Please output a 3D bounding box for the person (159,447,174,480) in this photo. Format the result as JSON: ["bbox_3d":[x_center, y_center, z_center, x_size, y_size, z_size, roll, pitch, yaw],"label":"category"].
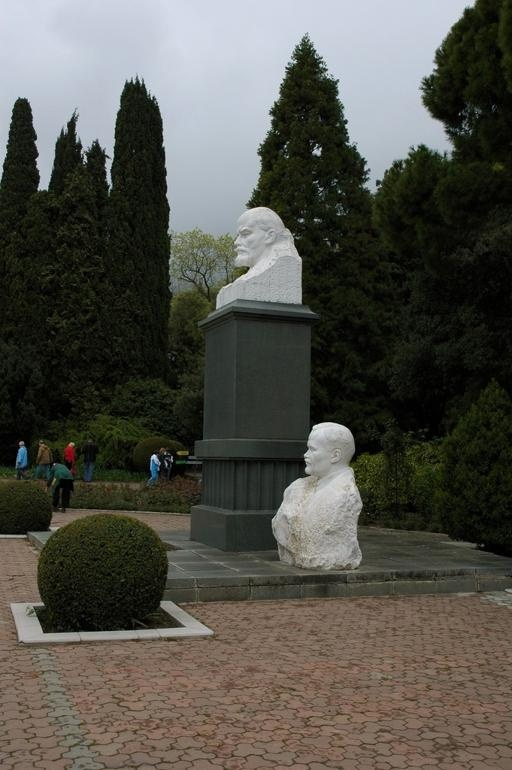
[{"bbox_3d":[-3.136,2.707,24.813,0.411,1.040,1.672,2,-2,-8],"label":"person"}]

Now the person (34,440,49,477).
[{"bbox_3d":[-6.801,2.426,22.763,0.433,1.269,3.397,2,-2,-16],"label":"person"}]

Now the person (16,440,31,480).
[{"bbox_3d":[-7.910,2.495,24.088,0.326,1.255,1.735,2,-2,-19],"label":"person"}]

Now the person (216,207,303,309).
[{"bbox_3d":[0.075,-1.715,9.360,0.941,1.430,1.093,2,-2,-10],"label":"person"}]

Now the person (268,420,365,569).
[{"bbox_3d":[0.565,1.136,7.419,0.952,1.800,1.281,5,-10,-13],"label":"person"}]
